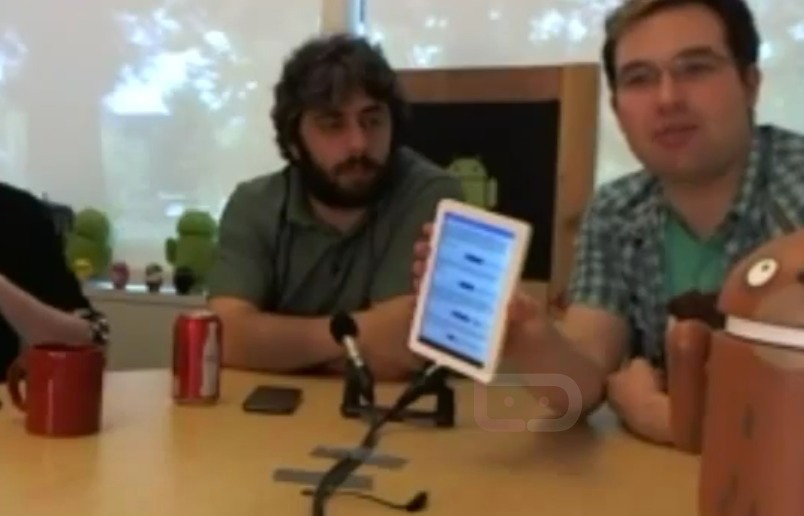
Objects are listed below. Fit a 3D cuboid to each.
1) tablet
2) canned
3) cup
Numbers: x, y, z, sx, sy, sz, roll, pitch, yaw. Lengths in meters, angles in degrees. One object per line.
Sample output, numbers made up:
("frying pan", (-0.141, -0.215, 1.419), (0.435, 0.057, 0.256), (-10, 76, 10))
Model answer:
("tablet", (0.092, 0.044, 0.985), (0.176, 0.248, 0.033), (2, 6, 30))
("canned", (-0.326, 0.165, 1.114), (0.061, 0.171, 0.058), (6, 9, 19))
("cup", (-0.518, 0.199, 1.048), (0.099, 0.137, 0.118), (-2, 9, -29))
